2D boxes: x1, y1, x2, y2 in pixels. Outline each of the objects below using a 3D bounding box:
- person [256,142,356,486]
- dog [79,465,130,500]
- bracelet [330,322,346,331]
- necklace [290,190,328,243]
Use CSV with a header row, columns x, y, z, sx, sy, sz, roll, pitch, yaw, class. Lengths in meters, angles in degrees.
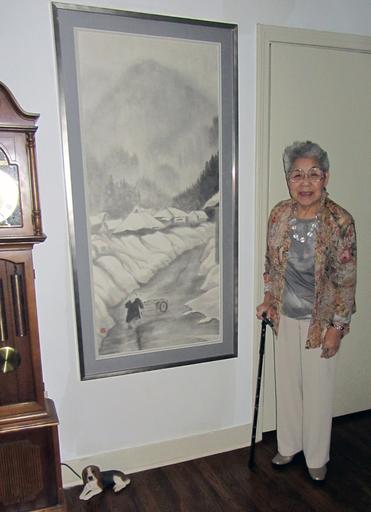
x,y,z,sx,sy,sz,roll,pitch,yaw,class
0.586,0.248,2.341,0.433,1.588,0.588,-3,14,-6,person
-0.381,1.046,2.233,0.133,0.135,0.269,-17,-14,41,dog
0.717,0.330,2.225,0.063,0.040,0.034,1,14,9,bracelet
0.575,-0.180,2.297,0.176,0.246,0.060,-3,-7,33,necklace
